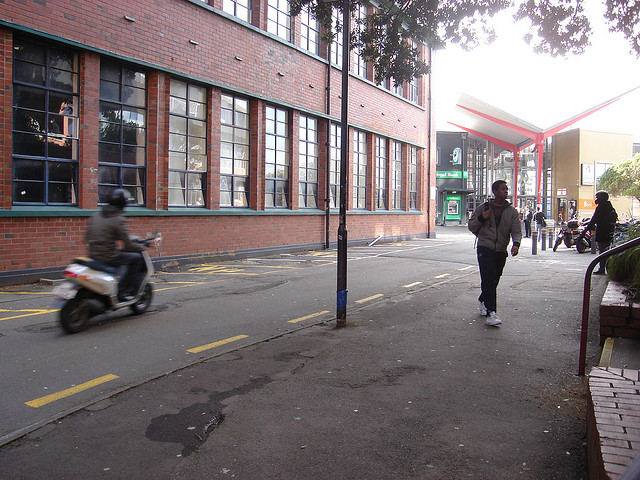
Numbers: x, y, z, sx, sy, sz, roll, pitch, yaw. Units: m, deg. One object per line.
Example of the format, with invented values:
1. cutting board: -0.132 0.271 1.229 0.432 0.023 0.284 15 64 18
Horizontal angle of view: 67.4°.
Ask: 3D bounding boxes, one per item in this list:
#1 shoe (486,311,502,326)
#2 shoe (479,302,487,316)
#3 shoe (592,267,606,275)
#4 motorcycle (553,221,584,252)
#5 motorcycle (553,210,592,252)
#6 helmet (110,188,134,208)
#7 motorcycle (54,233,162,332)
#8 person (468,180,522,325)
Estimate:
1. shoe: 2.766 1.257 7.635 0.136 0.174 0.264 1 -4 -29
2. shoe: 2.892 1.227 8.527 0.109 0.236 0.237 0 -3 -2
3. shoe: 7.417 0.823 12.706 0.291 0.162 0.522 0 4 30
4. motorcycle: 11.487 -0.252 21.587 0.983 1.309 1.984 3 5 -12
5. motorcycle: 11.440 -0.381 21.622 1.332 1.756 2.740 1 3 -6
6. helmet: -3.353 -0.694 8.040 0.296 0.300 0.274 -3 4 -20
7. motorcycle: -3.441 0.616 8.007 0.864 1.475 2.113 7 3 19
8. person: 2.922 0.169 7.902 0.757 2.319 0.671 -3 4 -17
